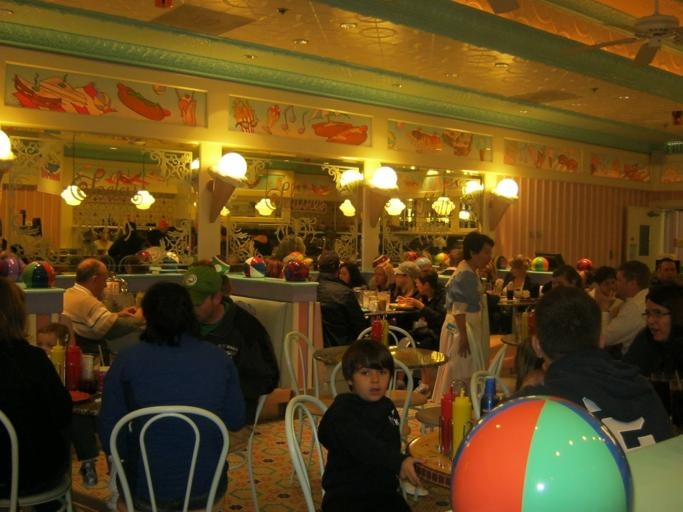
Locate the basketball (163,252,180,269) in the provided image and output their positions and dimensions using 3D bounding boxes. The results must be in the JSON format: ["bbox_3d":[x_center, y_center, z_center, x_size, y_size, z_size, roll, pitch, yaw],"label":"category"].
[{"bbox_3d":[-2.148,0.063,7.082,0.205,0.170,0.192,2,-2,4],"label":"basketball"}]

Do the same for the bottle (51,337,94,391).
[{"bbox_3d":[-1.564,0.633,3.256,0.235,0.290,0.161,-18,-2,-29],"label":"bottle"}]

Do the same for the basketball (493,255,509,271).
[{"bbox_3d":[2.760,0.143,9.788,0.171,0.214,0.179,-16,42,-3],"label":"basketball"}]

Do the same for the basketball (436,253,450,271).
[{"bbox_3d":[1.740,0.118,9.686,0.305,0.315,0.284,3,-9,-4],"label":"basketball"}]

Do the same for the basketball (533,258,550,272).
[{"bbox_3d":[3.407,0.153,9.660,0.263,0.273,0.246,14,-4,-15],"label":"basketball"}]

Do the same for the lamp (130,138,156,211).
[{"bbox_3d":[-2.528,-0.947,7.150,0.198,0.706,0.301,5,0,20],"label":"lamp"}]

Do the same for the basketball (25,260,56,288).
[{"bbox_3d":[-2.400,0.156,4.540,0.226,0.185,0.212,3,-9,-9],"label":"basketball"}]

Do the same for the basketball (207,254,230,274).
[{"bbox_3d":[-1.242,0.082,5.658,0.181,0.124,0.187,33,-2,40],"label":"basketball"}]

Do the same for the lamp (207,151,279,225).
[{"bbox_3d":[-1.495,-0.852,7.223,0.463,0.825,0.412,5,0,44],"label":"lamp"}]

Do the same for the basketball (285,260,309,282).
[{"bbox_3d":[-0.467,0.155,5.616,0.227,0.191,0.230,-5,33,-23],"label":"basketball"}]

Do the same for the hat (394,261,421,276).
[{"bbox_3d":[0.842,0.170,7.210,0.252,0.107,0.174,2,0,-2],"label":"hat"}]

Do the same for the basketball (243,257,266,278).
[{"bbox_3d":[-0.905,0.138,6.078,0.233,0.215,0.215,-2,-10,21],"label":"basketball"}]

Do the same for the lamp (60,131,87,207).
[{"bbox_3d":[-3.159,-0.970,6.613,0.216,0.738,0.332,5,0,-8],"label":"lamp"}]

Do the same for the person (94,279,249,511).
[{"bbox_3d":[-0.743,0.626,2.518,0.625,0.912,0.280,4,1,-9],"label":"person"}]

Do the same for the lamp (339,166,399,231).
[{"bbox_3d":[0.404,-0.883,8.680,0.911,0.739,0.883,-7,2,37],"label":"lamp"}]

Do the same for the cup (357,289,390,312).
[{"bbox_3d":[0.368,0.499,6.383,0.266,0.150,0.258,0,-1,0],"label":"cup"}]
